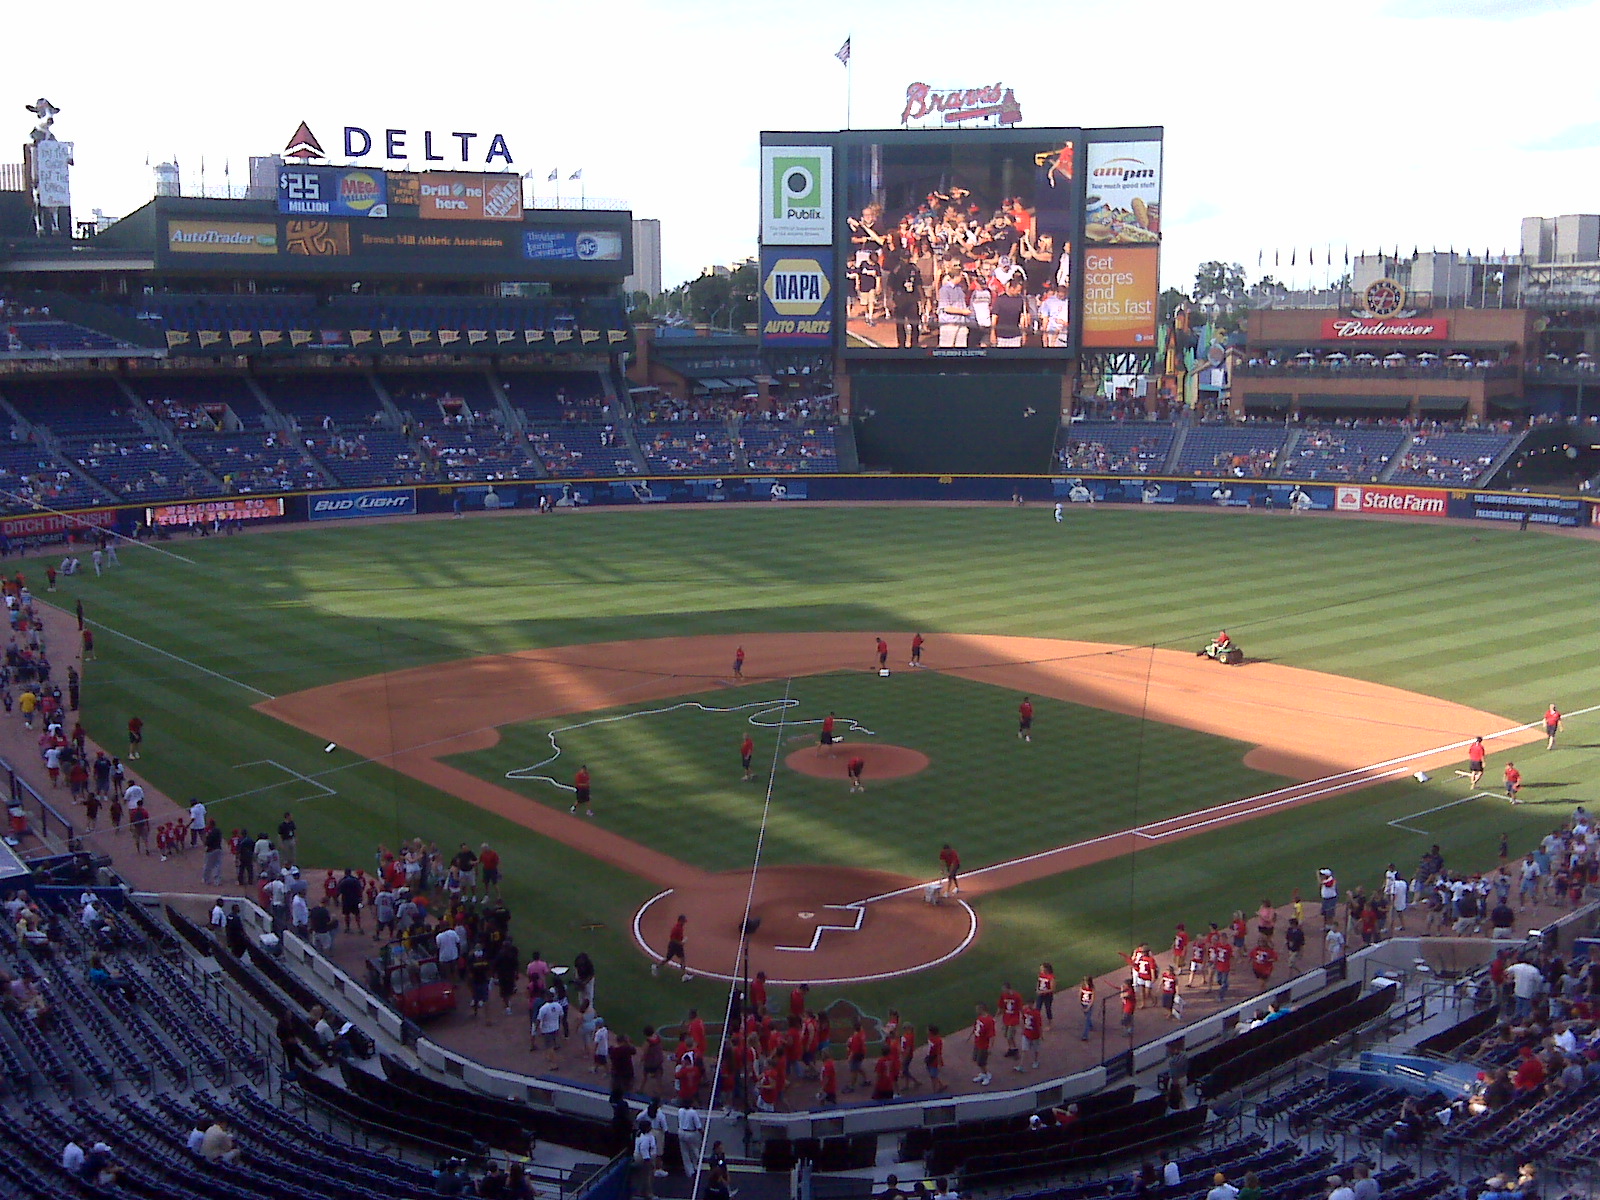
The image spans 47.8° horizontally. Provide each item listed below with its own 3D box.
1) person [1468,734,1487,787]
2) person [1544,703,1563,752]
[{"bbox_3d":[20.435,4.733,54.470,0.503,1.470,2.436,5,15,20],"label":"person"},{"bbox_3d":[24.192,3.979,58.048,0.461,1.196,2.157,6,15,23],"label":"person"}]
